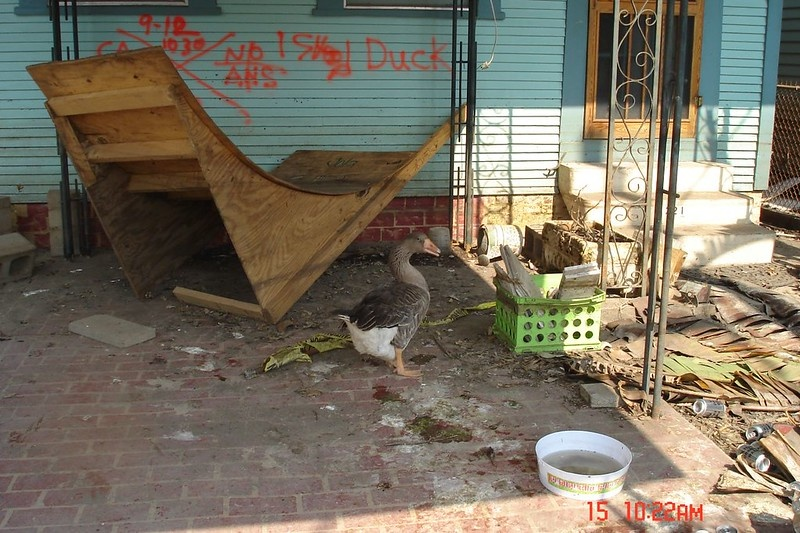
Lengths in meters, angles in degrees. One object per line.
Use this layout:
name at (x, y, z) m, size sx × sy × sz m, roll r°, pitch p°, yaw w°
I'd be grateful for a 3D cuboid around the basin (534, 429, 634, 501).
basin at (1.318, 1.445, 4.350) m, size 0.644 × 0.320 × 0.498 m, roll 6°, pitch 22°, yaw 23°

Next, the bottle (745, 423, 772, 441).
bottle at (2.810, 1.298, 4.659) m, size 0.197 × 0.080 × 0.111 m, roll -6°, pitch 23°, yaw -41°

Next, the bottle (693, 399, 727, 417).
bottle at (2.616, 1.200, 5.033) m, size 0.268 × 0.120 × 0.095 m, roll 1°, pitch 61°, yaw -17°
